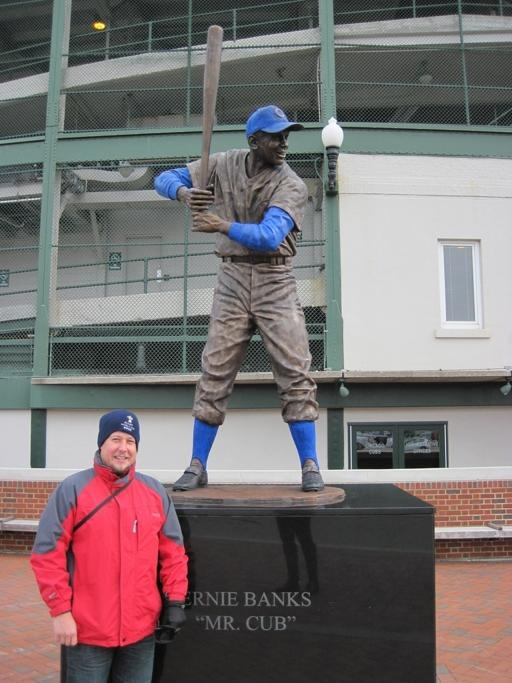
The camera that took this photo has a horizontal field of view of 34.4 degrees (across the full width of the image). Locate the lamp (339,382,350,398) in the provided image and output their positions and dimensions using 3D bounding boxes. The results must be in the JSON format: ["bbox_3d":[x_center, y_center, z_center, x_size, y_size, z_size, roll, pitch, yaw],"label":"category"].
[{"bbox_3d":[1.244,0.653,11.500,0.192,0.229,0.179,1,-6,-5],"label":"lamp"}]

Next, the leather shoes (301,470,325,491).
[{"bbox_3d":[0.327,0.815,4.866,0.131,0.115,0.266,0,-4,3],"label":"leather shoes"}]

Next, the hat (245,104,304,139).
[{"bbox_3d":[0.104,-1.300,4.909,0.285,0.133,0.176,-3,14,30],"label":"hat"}]

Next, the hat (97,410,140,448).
[{"bbox_3d":[-0.680,0.439,4.120,0.172,0.158,0.217,5,-14,-22],"label":"hat"}]

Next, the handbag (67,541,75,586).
[{"bbox_3d":[-0.868,1.038,3.868,0.030,0.189,0.057,2,-5,-21],"label":"handbag"}]

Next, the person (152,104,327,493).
[{"bbox_3d":[-0.083,-0.270,5.019,0.945,2.300,0.704,0,-5,-5],"label":"person"}]
